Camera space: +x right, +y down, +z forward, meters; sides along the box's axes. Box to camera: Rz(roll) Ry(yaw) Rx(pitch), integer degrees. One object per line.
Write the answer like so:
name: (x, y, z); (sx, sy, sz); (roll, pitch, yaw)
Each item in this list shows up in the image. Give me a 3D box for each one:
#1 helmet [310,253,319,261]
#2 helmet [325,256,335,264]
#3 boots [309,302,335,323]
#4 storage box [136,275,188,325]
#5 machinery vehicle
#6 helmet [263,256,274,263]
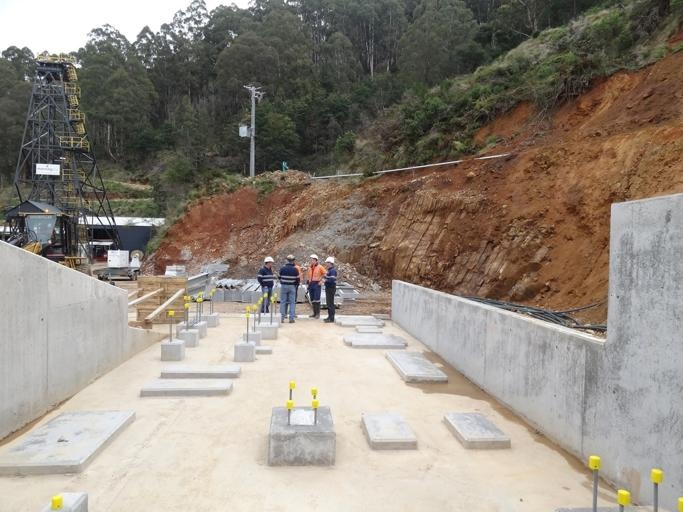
helmet: (-0.784, 0.146, 18.152); (0.206, 0.145, 0.278); (8, -17, 34)
helmet: (-0.278, 0.316, 18.003); (0.305, 0.164, 0.244); (-7, 14, -33)
boots: (-0.603, 2.094, 18.697); (0.724, 0.550, 0.560); (0, 0, -1)
storage box: (-5.021, 1.528, 16.229); (1.338, 1.549, 2.097); (0, 4, -7)
machinery vehicle: (-13.736, -0.612, 27.694); (2.657, 3.008, 5.517); (0, 4, -7)
helmet: (-2.682, 0.299, 22.008); (0.313, 0.176, 0.442); (1, -5, -23)
